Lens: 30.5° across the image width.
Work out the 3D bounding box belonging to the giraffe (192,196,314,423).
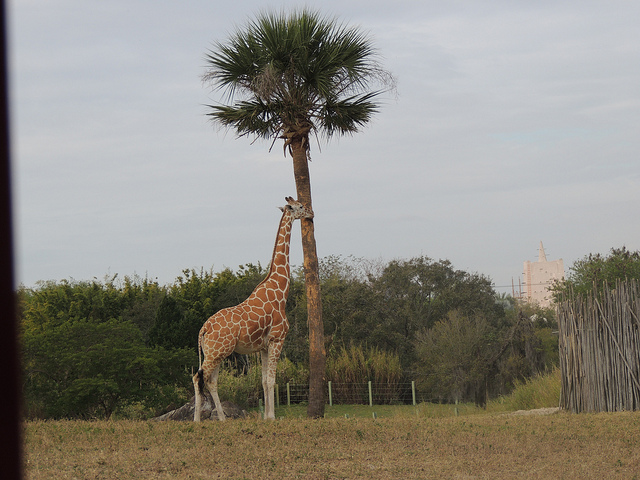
[{"bbox_3d":[-1.682,1.617,27.966,2.660,5.363,1.200,-2,-11,-5],"label":"giraffe"}]
